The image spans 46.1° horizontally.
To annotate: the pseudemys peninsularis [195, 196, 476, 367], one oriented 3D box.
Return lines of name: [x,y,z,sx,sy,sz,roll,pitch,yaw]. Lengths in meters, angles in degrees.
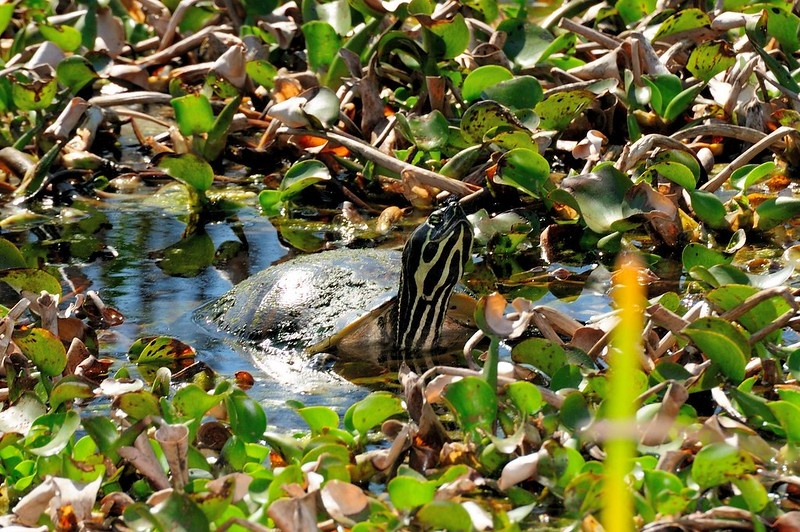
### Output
pseudemys peninsularis: [-0.301,0.086,4.437,1.136,0.762,0.410,-2,98,38]
